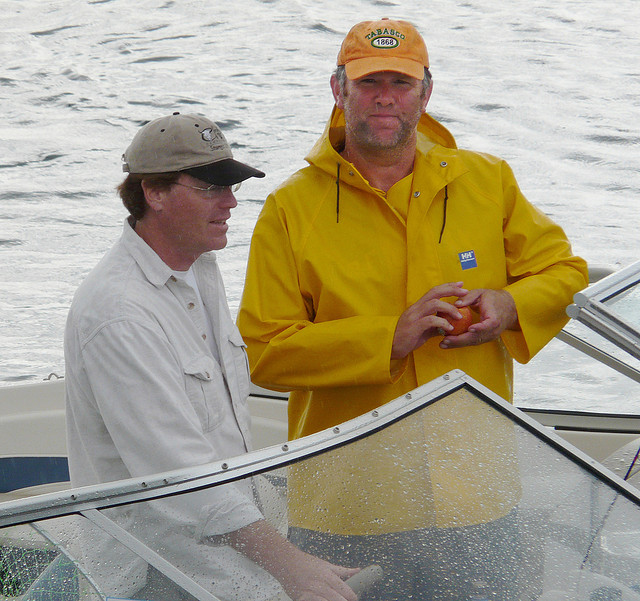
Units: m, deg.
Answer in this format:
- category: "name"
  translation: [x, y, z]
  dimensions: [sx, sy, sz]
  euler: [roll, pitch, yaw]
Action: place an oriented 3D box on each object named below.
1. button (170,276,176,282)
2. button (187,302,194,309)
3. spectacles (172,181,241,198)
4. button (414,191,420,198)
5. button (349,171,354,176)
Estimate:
- category: "button"
  translation: [-0.418, -0.060, 3.345]
  dimensions: [0.018, 0.018, 0.005]
  euler: [-13, 24, -29]
- category: "button"
  translation: [-0.372, 0.017, 3.393]
  dimensions: [0.019, 0.017, 0.004]
  euler: [-12, 24, -28]
- category: "spectacles"
  translation: [-0.291, -0.317, 3.364]
  dimensions: [0.104, 0.022, 0.085]
  euler: [9, 15, 15]
- category: "button"
  translation: [0.299, -0.332, 3.679]
  dimensions: [0.022, 0.015, 0.004]
  euler: [-5, -25, 6]
- category: "button"
  translation: [0.097, -0.397, 3.671]
  dimensions: [0.011, 0.012, 0.005]
  euler: [-4, 14, 12]
